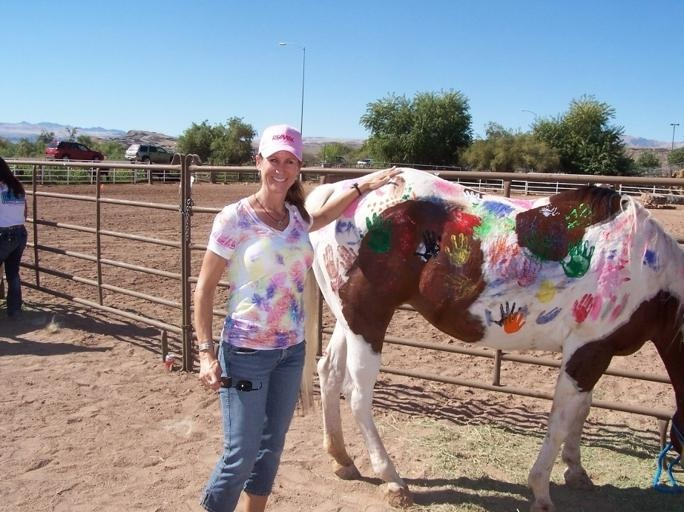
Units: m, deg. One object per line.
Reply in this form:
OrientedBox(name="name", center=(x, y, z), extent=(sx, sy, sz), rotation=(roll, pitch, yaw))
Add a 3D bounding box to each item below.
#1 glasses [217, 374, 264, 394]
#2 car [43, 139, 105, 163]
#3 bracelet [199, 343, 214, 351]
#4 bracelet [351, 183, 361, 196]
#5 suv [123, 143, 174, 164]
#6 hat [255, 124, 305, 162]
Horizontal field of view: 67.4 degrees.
OrientedBox(name="glasses", center=(-0.519, 0.675, 2.679), extent=(0.212, 0.084, 0.065), rotation=(1, 9, -6))
OrientedBox(name="car", center=(-12.942, -5.120, 24.907), extent=(2.198, 0.886, 1.967), rotation=(-6, 12, -38))
OrientedBox(name="bracelet", center=(-0.697, 0.476, 2.640), extent=(0.070, 0.056, 0.048), rotation=(-1, 9, -16))
OrientedBox(name="bracelet", center=(0.087, -0.433, 3.323), extent=(0.048, 0.084, 0.075), rotation=(-11, 7, -21))
OrientedBox(name="suv", center=(-10.057, -5.356, 26.820), extent=(2.066, 0.979, 2.530), rotation=(-2, 10, -20))
OrientedBox(name="hat", center=(-0.328, -0.624, 2.824), extent=(0.274, 0.230, 0.403), rotation=(3, 7, -3))
